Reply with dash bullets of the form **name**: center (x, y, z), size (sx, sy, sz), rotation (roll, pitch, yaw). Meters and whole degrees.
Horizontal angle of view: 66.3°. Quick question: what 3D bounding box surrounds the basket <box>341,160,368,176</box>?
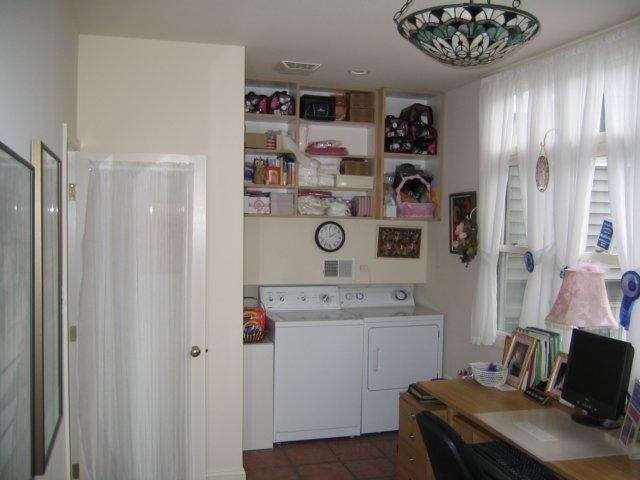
- **basket**: center (0.340, -0.704, 4.847), size (0.179, 0.127, 0.196), rotation (-1, 5, -6)

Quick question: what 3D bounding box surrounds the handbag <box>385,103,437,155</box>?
- **handbag**: center (0.852, -1.060, 4.935), size (0.469, 0.508, 0.487), rotation (-1, 5, -15)

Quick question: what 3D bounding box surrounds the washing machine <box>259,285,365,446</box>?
- **washing machine**: center (-0.067, 1.133, 4.601), size (0.884, 1.267, 0.653), rotation (5, 5, -13)

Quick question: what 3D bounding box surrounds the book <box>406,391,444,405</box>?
- **book**: center (0.733, 1.097, 3.383), size (0.143, 0.040, 0.155), rotation (1, 0, -12)

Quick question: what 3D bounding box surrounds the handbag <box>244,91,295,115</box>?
- **handbag**: center (-0.457, -1.228, 4.499), size (0.347, 0.166, 0.224), rotation (-1, 7, -13)

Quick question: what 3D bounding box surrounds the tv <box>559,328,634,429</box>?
- **tv**: center (1.587, 0.812, 2.803), size (0.254, 0.578, 0.451), rotation (6, -5, -19)

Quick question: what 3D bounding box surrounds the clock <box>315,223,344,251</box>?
- **clock**: center (0.090, -0.043, 4.772), size (0.244, 0.278, 0.261), rotation (1, 5, 5)

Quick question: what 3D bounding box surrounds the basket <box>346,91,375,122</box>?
- **basket**: center (0.390, -1.269, 4.786), size (0.260, 0.287, 0.281), rotation (-1, 5, -7)

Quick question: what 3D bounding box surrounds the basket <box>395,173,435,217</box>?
- **basket**: center (0.926, -0.414, 4.768), size (0.313, 0.464, 0.433), rotation (0, -6, -9)

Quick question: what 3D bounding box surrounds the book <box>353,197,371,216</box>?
- **book**: center (0.419, -0.328, 4.899), size (0.149, 0.206, 0.287), rotation (0, 1, -7)

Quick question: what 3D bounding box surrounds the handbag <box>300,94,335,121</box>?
- **handbag**: center (-0.015, -1.232, 4.606), size (0.255, 0.199, 0.261), rotation (1, 5, -14)

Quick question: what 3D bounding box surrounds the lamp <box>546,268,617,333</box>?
- **lamp**: center (1.584, 0.366, 3.105), size (0.352, 0.436, 0.375), rotation (1, -5, -17)
